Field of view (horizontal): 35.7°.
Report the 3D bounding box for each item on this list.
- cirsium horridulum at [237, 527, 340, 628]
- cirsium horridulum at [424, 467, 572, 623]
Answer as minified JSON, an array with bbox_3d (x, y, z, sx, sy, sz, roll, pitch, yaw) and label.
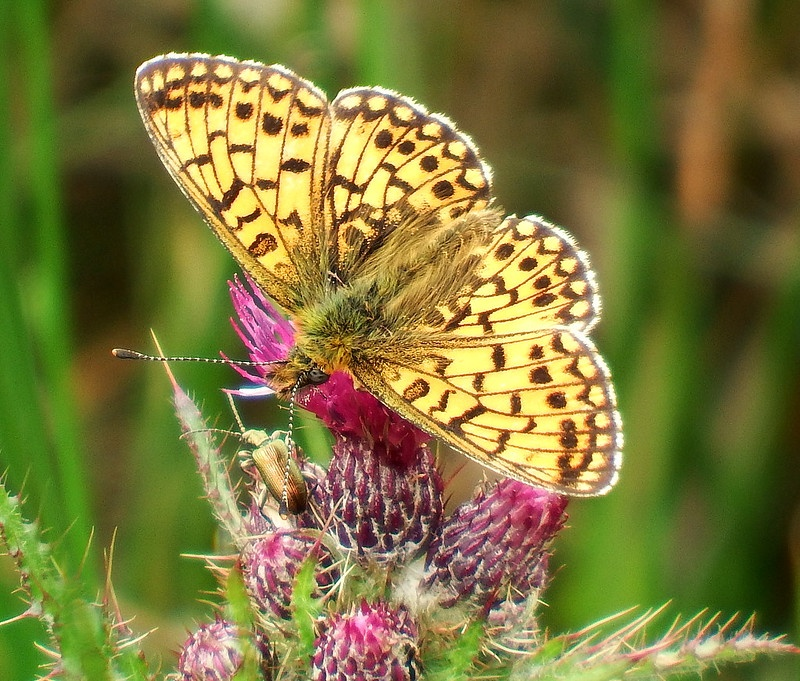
[{"bbox_3d":[-0.525,0.999,5.604,0.384,0.453,0.516,-9,17,-27],"label":"cirsium horridulum"},{"bbox_3d":[0.420,0.911,5.572,0.542,0.339,0.601,23,50,9],"label":"cirsium horridulum"}]
